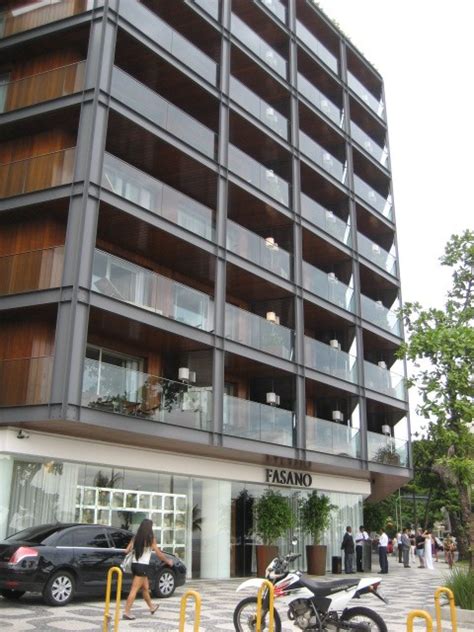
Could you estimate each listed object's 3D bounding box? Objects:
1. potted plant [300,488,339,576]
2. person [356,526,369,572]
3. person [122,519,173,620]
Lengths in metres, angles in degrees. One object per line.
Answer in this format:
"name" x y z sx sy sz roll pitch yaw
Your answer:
"potted plant" 3.238 8.886 20.521 1.345 3.051 1.218 9 -22 -14
"person" 5.365 10.067 21.948 0.597 1.723 0.531 1 3 -4
"person" -1.273 3.677 7.236 0.650 1.372 1.366 1 -20 -8
